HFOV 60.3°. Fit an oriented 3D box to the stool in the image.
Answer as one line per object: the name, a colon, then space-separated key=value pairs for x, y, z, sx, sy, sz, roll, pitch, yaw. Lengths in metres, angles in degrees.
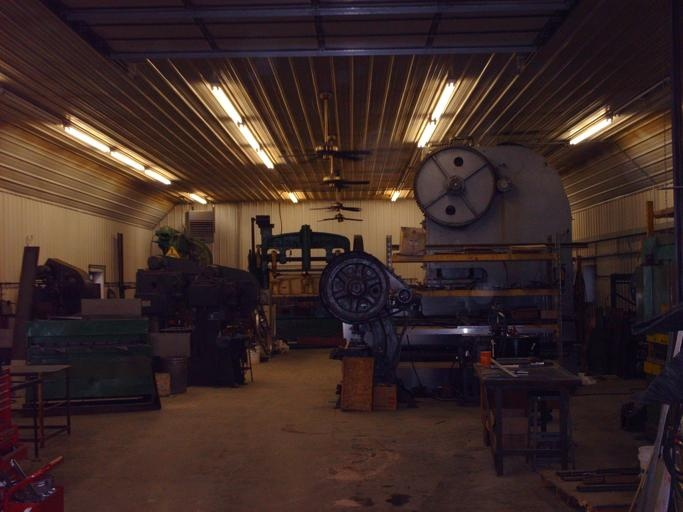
stool: x=2.727 y=2.420 z=7.862 sx=0.669 sy=1.056 sz=0.642 roll=0 pitch=-9 yaw=11

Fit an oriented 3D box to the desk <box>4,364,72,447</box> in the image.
desk: x=-4.485 y=2.245 z=8.775 sx=0.812 sy=0.872 sz=1.419 roll=0 pitch=-4 yaw=-3
